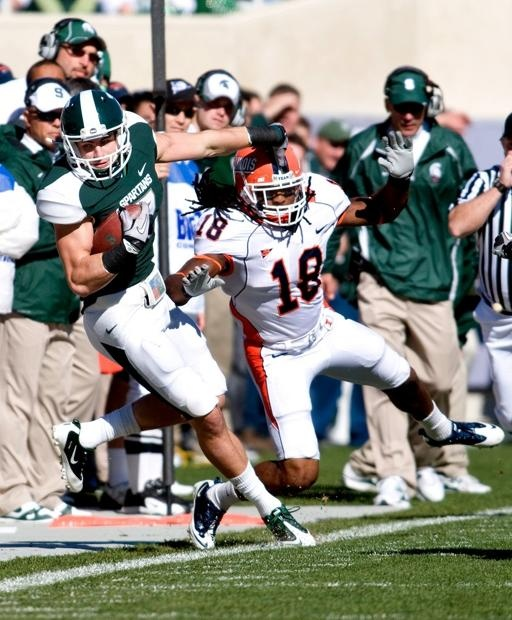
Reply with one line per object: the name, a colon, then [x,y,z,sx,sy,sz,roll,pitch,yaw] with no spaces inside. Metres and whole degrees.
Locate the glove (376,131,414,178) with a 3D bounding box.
glove: [0.549,-0.597,3.474,0.169,0.179,0.063,10,26,34]

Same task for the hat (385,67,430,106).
hat: [0.757,-1.113,4.624,0.208,0.185,0.166,-4,21,1]

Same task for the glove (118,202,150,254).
glove: [-0.378,-0.253,2.886,0.089,0.142,0.152,-7,20,-4]

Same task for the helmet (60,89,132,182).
helmet: [-0.530,-0.566,3.136,0.271,0.256,0.303,-8,49,-7]

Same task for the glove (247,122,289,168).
glove: [0.064,-0.590,3.298,0.195,0.147,0.128,5,27,1]

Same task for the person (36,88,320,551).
person: [-0.295,0.038,3.273,0.769,1.612,0.751,0,23,14]

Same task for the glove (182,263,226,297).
glove: [-0.177,-0.093,3.058,0.135,0.130,0.184,-5,19,-2]
